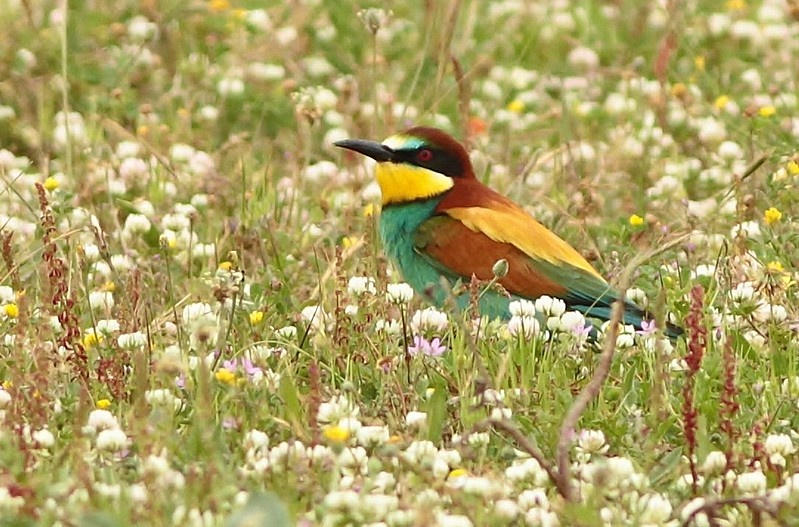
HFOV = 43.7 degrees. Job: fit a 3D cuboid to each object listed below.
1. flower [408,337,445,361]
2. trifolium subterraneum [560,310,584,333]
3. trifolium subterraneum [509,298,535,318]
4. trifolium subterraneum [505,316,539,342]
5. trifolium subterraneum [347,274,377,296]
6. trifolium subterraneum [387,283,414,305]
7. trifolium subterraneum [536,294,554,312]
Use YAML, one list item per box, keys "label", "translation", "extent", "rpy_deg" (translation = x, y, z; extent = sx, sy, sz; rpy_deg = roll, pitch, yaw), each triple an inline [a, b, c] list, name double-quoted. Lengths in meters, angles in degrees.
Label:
- label: "flower"
  translation: [0.125, 0.365, 4.304]
  extent: [0.127, 0.094, 0.065]
  rpy_deg: [-8, 105, -18]
- label: "trifolium subterraneum"
  translation: [0.778, 0.260, 4.488]
  extent: [0.107, 0.096, 0.090]
  rpy_deg: [-3, 84, 1]
- label: "trifolium subterraneum"
  translation: [0.543, 0.199, 4.500]
  extent: [0.088, 0.104, 0.110]
  rpy_deg: [1, 95, -28]
- label: "trifolium subterraneum"
  translation: [0.565, 0.291, 4.499]
  extent: [0.107, 0.117, 0.082]
  rpy_deg: [2, 92, 24]
- label: "trifolium subterraneum"
  translation: [-0.187, 0.110, 4.652]
  extent: [0.114, 0.215, 0.089]
  rpy_deg: [-13, 83, 0]
- label: "trifolium subterraneum"
  translation: [0.001, 0.129, 4.355]
  extent: [0.081, 0.095, 0.068]
  rpy_deg: [0, 95, -41]
- label: "trifolium subterraneum"
  translation: [0.668, 0.178, 4.560]
  extent: [0.075, 0.064, 0.062]
  rpy_deg: [-4, 95, -45]
